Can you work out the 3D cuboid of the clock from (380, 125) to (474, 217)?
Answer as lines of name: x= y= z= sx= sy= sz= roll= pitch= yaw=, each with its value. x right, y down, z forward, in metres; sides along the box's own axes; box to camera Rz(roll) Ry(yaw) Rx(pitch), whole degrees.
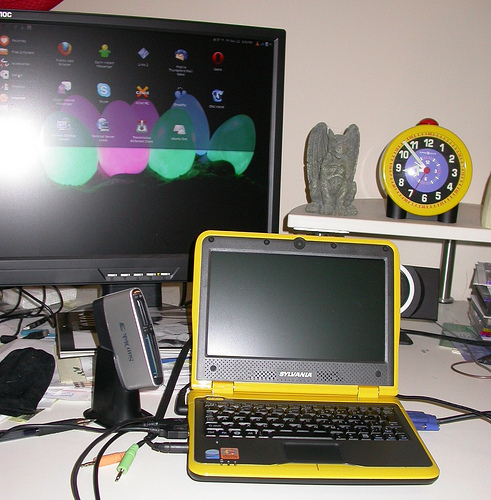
clock: x=0.344 y=-0.147 z=0.893 sx=0.202 sy=0.071 sz=0.223 roll=-1 pitch=-86 yaw=1

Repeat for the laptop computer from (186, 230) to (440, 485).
laptop computer: x=0.077 y=0.118 z=0.607 sx=0.318 sy=0.287 sz=0.222 roll=1 pitch=-80 yaw=-9
